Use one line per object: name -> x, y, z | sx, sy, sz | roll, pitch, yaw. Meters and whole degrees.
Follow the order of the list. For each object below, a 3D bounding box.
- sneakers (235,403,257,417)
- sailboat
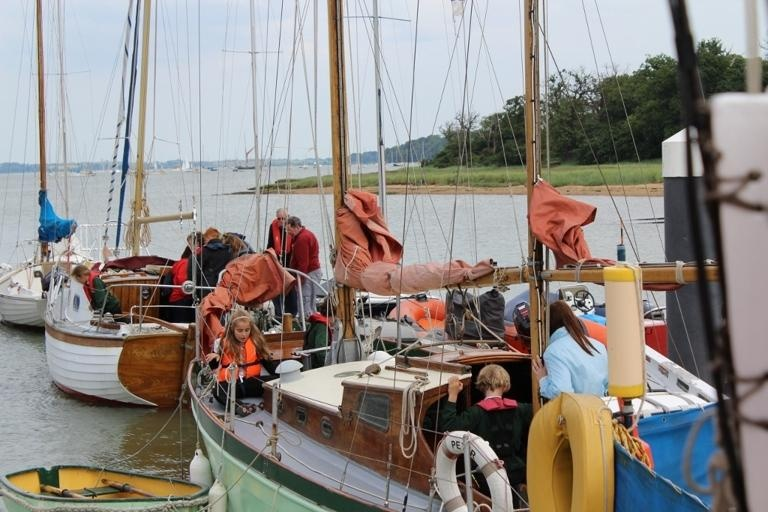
sneakers -> -1.420, 1.572, 8.984 | 0.087, 0.116, 0.243 | 1, 3, -33
sailboat -> -0.157, 0.452, 9.180 | 6.595, 8.410, 1.669 | 0, -3, 0
